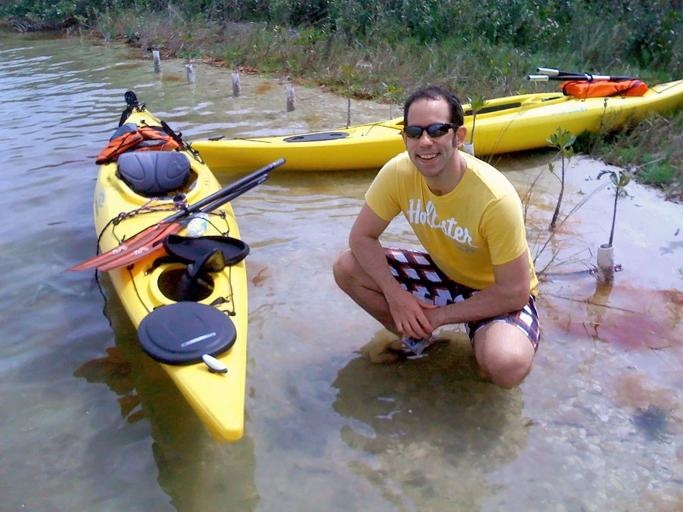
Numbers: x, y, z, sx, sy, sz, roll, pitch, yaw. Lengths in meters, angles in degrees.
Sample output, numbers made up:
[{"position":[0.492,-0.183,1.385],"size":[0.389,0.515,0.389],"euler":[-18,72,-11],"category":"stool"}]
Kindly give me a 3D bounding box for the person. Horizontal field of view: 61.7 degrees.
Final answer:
[{"position":[0.634,-0.118,3.492],"size":[1.340,1.663,0.602],"euler":[18,35,29],"category":"person"}]

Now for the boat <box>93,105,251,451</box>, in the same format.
[{"position":[-1.262,-0.053,4.216],"size":[0.816,0.569,3.170],"euler":[-17,61,-14],"category":"boat"}]

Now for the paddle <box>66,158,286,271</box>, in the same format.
[{"position":[-1.366,-0.323,4.716],"size":[1.483,0.156,0.405],"euler":[-38,20,-21],"category":"paddle"}]

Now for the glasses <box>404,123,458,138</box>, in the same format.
[{"position":[0.516,-0.724,3.287],"size":[0.297,0.089,0.082],"euler":[2,30,4],"category":"glasses"}]
